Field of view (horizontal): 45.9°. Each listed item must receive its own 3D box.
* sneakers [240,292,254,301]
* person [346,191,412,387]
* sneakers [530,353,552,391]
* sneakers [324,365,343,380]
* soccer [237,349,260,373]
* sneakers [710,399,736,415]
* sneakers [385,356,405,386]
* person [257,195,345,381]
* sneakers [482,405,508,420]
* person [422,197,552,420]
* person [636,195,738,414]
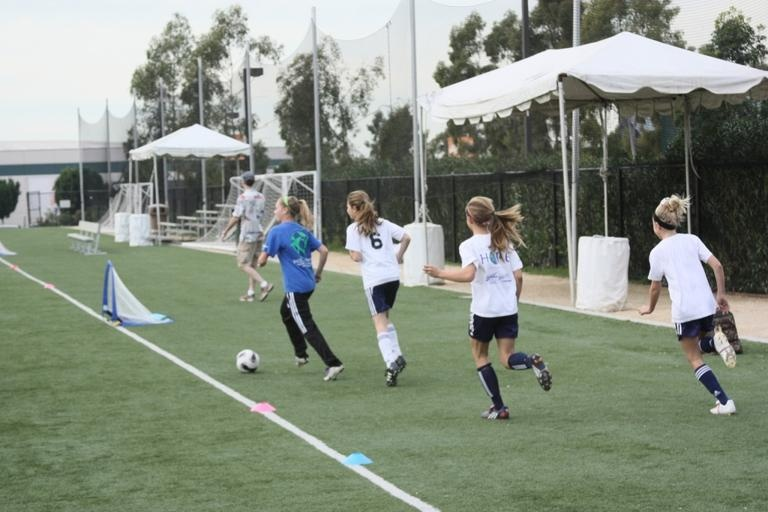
[{"bbox_3d":[-2.689,0.807,17.829,0.271,0.186,0.128,5,2,7],"label":"sneakers"},{"bbox_3d":[-0.089,0.416,11.963,0.782,2.519,0.704,-1,2,0],"label":"person"},{"bbox_3d":[1.884,1.418,10.957,0.168,0.485,0.231,-25,-16,5],"label":"sneakers"},{"bbox_3d":[-0.678,1.542,12.073,0.259,0.214,0.355,-1,2,-8],"label":"sneakers"},{"bbox_3d":[-1.856,1.426,12.455,0.288,0.310,0.289,5,3,18],"label":"soccer"},{"bbox_3d":[3.925,1.761,10.567,0.302,0.140,0.136,-1,0,32],"label":"sneakers"},{"bbox_3d":[0.138,1.506,11.749,0.219,0.483,0.172,6,39,-3],"label":"sneakers"},{"bbox_3d":[-1.157,0.407,12.432,1.019,2.466,1.318,-1,2,-8],"label":"person"},{"bbox_3d":[1.295,1.820,10.629,0.266,0.121,0.143,2,1,29],"label":"sneakers"},{"bbox_3d":[1.310,0.615,10.468,1.127,2.586,0.850,-1,2,5],"label":"person"},{"bbox_3d":[3.594,0.552,10.688,0.993,2.558,0.793,-2,2,-24],"label":"person"}]
